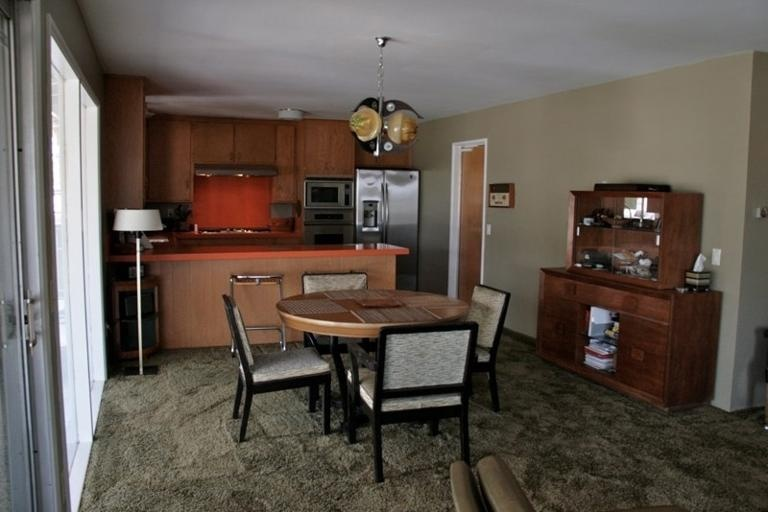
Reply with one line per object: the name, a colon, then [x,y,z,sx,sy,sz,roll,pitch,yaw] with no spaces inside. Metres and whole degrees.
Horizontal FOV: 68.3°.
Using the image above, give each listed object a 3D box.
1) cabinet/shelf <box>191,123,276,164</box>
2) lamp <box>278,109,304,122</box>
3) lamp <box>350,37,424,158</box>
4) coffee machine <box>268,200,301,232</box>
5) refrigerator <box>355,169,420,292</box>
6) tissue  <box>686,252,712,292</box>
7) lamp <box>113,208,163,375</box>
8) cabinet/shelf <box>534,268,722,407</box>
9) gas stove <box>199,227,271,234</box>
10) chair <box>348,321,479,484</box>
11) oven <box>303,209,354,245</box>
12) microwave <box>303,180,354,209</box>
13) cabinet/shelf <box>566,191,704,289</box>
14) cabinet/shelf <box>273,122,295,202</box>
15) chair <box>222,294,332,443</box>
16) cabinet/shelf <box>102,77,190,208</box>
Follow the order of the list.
cabinet/shelf: [-2.395,-1.711,8.798,1.402,0.756,0.470,-7,10,-38]
lamp: [-1.255,-1.977,7.887,0.390,0.143,0.386,-4,15,-19]
lamp: [0.034,-1.381,4.976,0.570,0.947,0.860,1,14,2]
coffee machine: [-1.580,-0.648,9.056,0.458,0.478,0.552,-2,15,-11]
refrigerator: [0.052,-0.394,8.641,0.930,1.793,0.299,-1,15,-6]
tissue : [2.773,0.155,4.998,0.203,0.280,0.191,2,5,0]
lamp: [-2.371,0.230,5.465,0.409,1.241,0.427,-5,-4,41]
cabinet/shelf: [2.291,0.743,5.608,0.592,1.020,1.650,-2,7,-24]
gas stove: [-2.345,-0.396,8.920,1.128,0.055,0.594,-2,14,-11]
chair: [0.146,0.902,4.335,1.073,1.378,1.048,-2,13,-12]
oven: [-0.835,-0.419,8.805,0.778,0.683,0.499,0,10,-5]
microwave: [-0.837,-0.920,8.524,0.723,0.436,0.423,0,2,-11]
cabinet/shelf: [2.349,-0.177,5.485,0.422,0.827,1.028,-2,9,-32]
cabinet/shelf: [-1.617,-1.410,8.994,0.407,1.201,0.351,-4,16,-24]
chair: [-0.767,0.880,4.602,0.845,0.991,0.710,-3,0,-8]
cabinet/shelf: [-2.835,-1.391,6.749,0.520,1.288,1.420,-1,11,-6]
